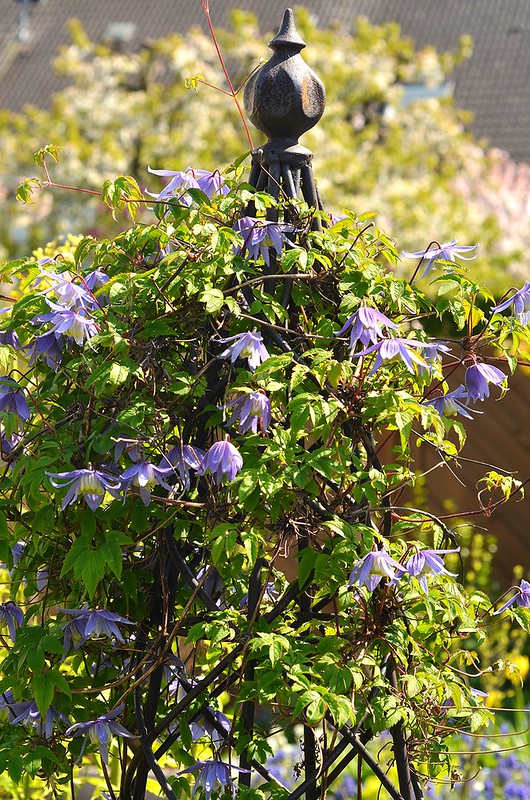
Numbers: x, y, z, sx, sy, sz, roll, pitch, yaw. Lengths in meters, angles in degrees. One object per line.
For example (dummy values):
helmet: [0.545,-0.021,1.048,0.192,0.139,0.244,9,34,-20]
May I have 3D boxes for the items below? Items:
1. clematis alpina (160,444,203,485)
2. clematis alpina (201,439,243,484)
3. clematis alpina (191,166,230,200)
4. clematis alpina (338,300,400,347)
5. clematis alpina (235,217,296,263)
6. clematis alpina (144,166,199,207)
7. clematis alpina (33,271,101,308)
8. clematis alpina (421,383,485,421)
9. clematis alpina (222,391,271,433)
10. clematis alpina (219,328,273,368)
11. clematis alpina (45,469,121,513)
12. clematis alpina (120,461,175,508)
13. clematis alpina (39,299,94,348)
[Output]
clematis alpina: [-0.247,0.193,5.926,0.127,0.138,0.114,-5,6,11]
clematis alpina: [-0.125,0.196,5.945,0.118,0.129,0.119,9,-8,0]
clematis alpina: [-0.173,-0.717,6.157,0.106,0.110,0.091,-22,-6,-39]
clematis alpina: [0.326,-0.237,5.912,0.142,0.133,0.147,-7,-29,-23]
clematis alpina: [0.019,-0.519,6.027,0.151,0.067,0.158,-10,-30,17]
clematis alpina: [-0.291,-0.695,6.071,0.156,0.158,0.082,-12,-43,16]
clematis alpina: [-0.580,-0.343,5.994,0.138,0.136,0.048,-2,-64,-46]
clematis alpina: [0.622,0.029,6.227,0.135,0.138,0.062,-19,-76,-8]
clematis alpina: [-0.052,0.045,5.935,0.126,0.124,0.130,12,-20,-8]
clematis alpina: [-0.054,-0.160,5.905,0.124,0.085,0.130,-2,-42,35]
clematis alpina: [-0.556,0.266,5.861,0.154,0.073,0.157,21,-12,-13]
clematis alpina: [-0.362,0.254,5.904,0.127,0.073,0.134,-7,-19,11]
clematis alpina: [-0.601,-0.248,5.907,0.142,0.146,0.064,30,-78,10]
